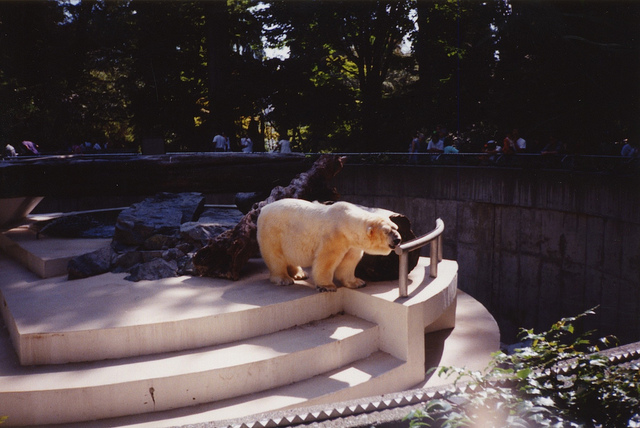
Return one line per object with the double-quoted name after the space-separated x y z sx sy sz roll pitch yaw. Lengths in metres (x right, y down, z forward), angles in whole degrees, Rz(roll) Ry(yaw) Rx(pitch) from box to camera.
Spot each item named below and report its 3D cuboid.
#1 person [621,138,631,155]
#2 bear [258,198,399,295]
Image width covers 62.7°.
9.104 -1.985 15.677 0.217 0.411 1.359 7 12 29 "person"
0.191 0.485 10.411 2.847 1.871 1.364 6 16 21 "bear"
